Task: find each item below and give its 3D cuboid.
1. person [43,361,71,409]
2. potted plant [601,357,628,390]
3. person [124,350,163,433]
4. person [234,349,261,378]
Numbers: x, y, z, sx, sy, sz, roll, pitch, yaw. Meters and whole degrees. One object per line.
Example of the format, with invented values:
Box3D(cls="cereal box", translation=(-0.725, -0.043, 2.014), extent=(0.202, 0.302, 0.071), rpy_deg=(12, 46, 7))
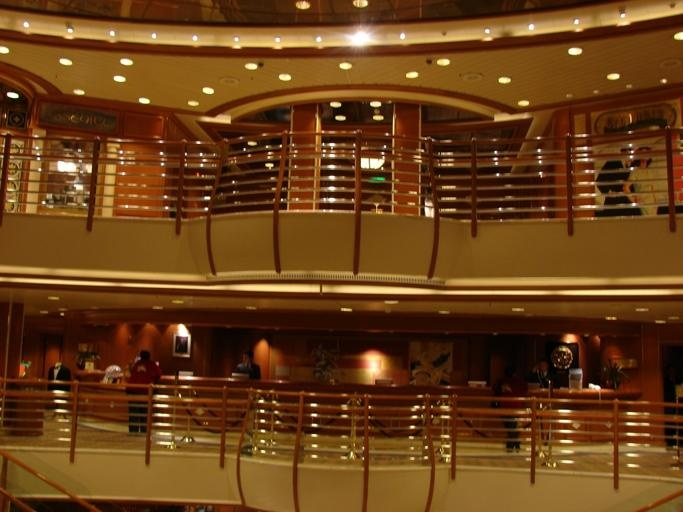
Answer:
Box3D(cls="person", translation=(-6.443, 2.890, 14.373), extent=(0.592, 1.012, 0.542), rpy_deg=(1, -9, -19))
Box3D(cls="potted plant", translation=(6.735, 2.893, 15.377), extent=(0.468, 0.749, 0.812), rpy_deg=(0, -3, 13))
Box3D(cls="person", translation=(-3.868, 2.698, 12.159), extent=(0.621, 1.643, 3.167), rpy_deg=(2, -3, -19))
Box3D(cls="person", translation=(-2.157, 2.521, 14.439), extent=(0.507, 0.566, 0.946), rpy_deg=(2, -3, -19))
